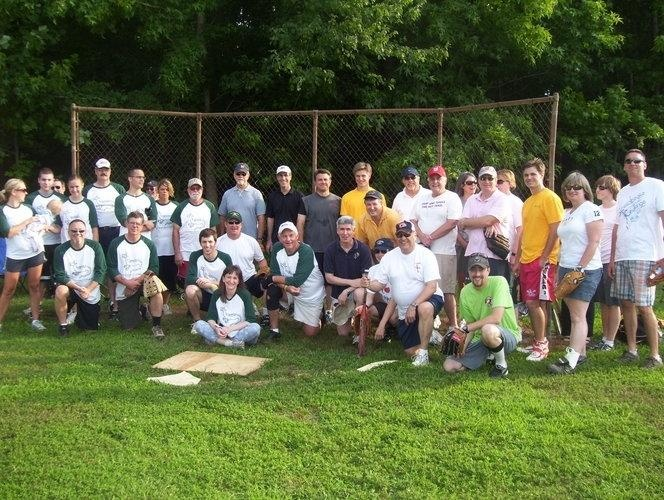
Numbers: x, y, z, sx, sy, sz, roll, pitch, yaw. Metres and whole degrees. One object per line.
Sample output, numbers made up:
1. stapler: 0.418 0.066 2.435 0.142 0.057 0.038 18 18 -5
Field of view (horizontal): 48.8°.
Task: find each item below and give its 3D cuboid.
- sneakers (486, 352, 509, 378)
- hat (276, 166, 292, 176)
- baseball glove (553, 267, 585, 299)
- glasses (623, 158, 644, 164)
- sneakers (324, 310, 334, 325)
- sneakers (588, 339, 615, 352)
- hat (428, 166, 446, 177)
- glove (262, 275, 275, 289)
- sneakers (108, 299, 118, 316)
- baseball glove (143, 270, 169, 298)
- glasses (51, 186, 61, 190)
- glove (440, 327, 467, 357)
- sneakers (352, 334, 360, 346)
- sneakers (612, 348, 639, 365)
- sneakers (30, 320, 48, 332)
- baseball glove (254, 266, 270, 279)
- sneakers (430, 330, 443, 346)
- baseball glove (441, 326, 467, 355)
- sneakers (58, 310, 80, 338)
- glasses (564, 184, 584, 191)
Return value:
1. sneakers: 1.955 1.335 8.667 0.147 0.162 0.404 -13 36 36
2. hat: -0.772 -1.263 11.673 0.187 0.099 0.261 0 7 3
3. baseball glove: 2.790 0.398 8.620 0.413 0.233 0.146 -39 1 -16
4. glasses: 3.581 -1.046 8.664 0.205 0.083 0.109 -1 0 18
5. sneakers: -0.061 1.000 10.923 0.131 0.208 0.210 1 -18 -3
6. sneakers: 3.502 1.240 9.500 0.389 0.155 0.140 1 8 0
7. hat: 1.479 -1.124 10.300 0.189 0.128 0.254 0 2 16
8. glove: -0.924 0.467 10.609 0.195 0.233 0.132 2 -8 22
9. sneakers: -3.416 0.900 11.388 0.128 0.313 0.109 -24 -19 39
10. baseball glove: -2.610 0.506 10.697 0.353 0.339 0.298 -11 -5 -28
11. glasses: -4.479 -1.007 11.820 0.148 0.078 0.063 -1 6 15
12. glove: 1.485 1.130 8.881 0.248 0.327 0.347 3 -13 16
13. sneakers: 0.320 1.240 9.988 0.111 0.133 0.316 -7 -15 -9
14. sneakers: 3.560 1.293 8.825 0.254 0.149 0.269 -1 0 22
15. sneakers: -4.322 1.115 10.765 0.111 0.127 0.320 2 0 -45
16. baseball glove: -1.005 0.335 10.886 0.150 0.069 0.198 -26 20 -34
17. sneakers: 1.375 1.152 9.696 0.185 0.206 0.191 0 25 6
18. baseball glove: 1.477 1.128 8.883 0.246 0.328 0.349 7 -5 27
19. sneakers: -3.911 1.114 10.830 0.178 0.508 0.214 13 -42 -25
20. glasses: 2.899 -0.740 8.783 0.214 0.065 0.090 -1 0 15
